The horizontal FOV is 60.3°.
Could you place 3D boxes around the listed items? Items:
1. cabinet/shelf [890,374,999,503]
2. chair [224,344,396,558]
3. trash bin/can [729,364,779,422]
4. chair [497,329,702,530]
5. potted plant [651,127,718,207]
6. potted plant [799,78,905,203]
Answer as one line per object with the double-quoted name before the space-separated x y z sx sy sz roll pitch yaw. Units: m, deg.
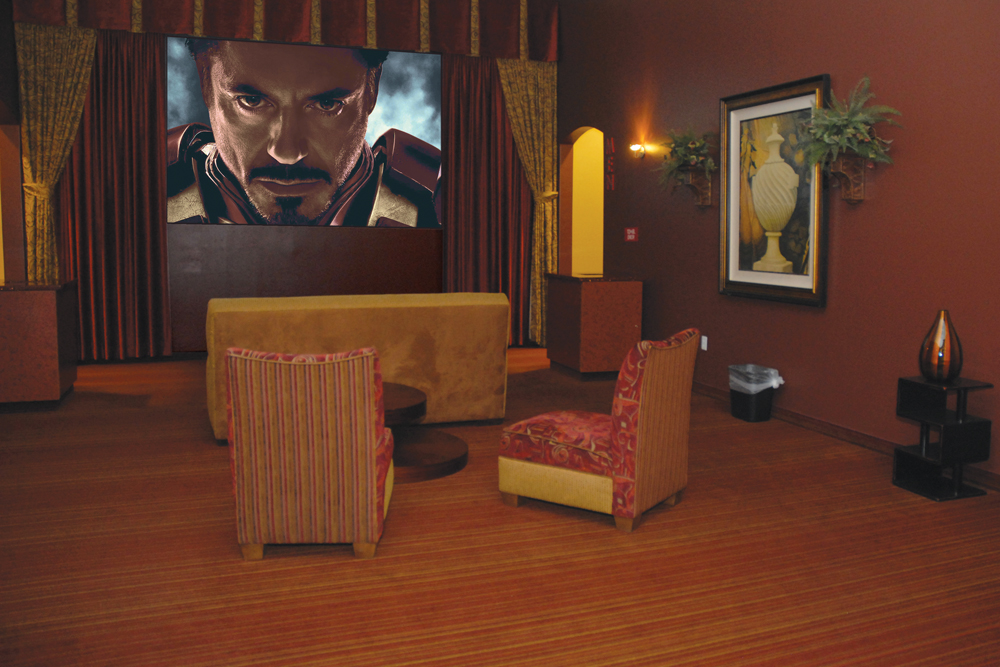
"cabinet/shelf" 3.051 0.704 5.829 0.640 0.753 0.438 2 13 2
"chair" -1.215 0.640 5.435 0.964 1.252 1.048 -1 9 -12
"trash bin/can" 2.124 0.449 7.452 0.401 0.526 0.543 0 2 -21
"chair" 0.669 0.570 5.806 1.169 1.201 0.979 6 8 40
"potted plant" 1.754 -1.548 8.038 0.421 0.475 0.413 3 16 5
"potted plant" 2.475 -1.431 6.672 0.761 0.854 0.801 -3 13 -12
